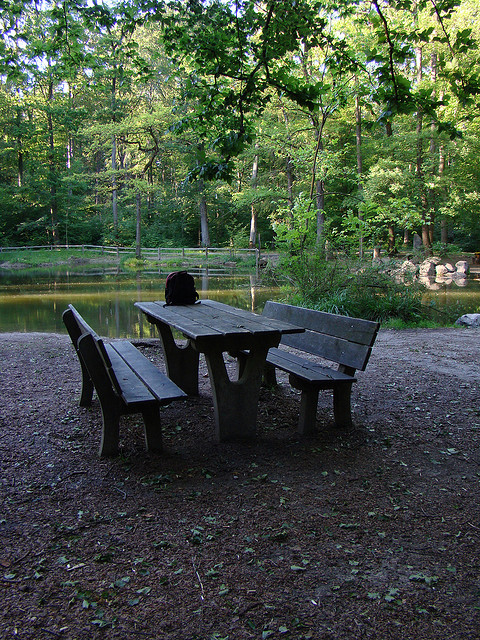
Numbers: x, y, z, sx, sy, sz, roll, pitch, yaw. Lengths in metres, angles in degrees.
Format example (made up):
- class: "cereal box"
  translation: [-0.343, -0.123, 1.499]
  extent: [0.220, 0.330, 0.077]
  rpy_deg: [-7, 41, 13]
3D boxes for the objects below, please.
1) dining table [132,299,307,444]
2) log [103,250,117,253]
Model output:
- class: "dining table"
  translation: [-0.207, 0.346, 4.412]
  extent: [0.750, 0.788, 2.059]
  rpy_deg: [-2, 5, -28]
- class: "log"
  translation: [-9.334, -4.942, 37.950]
  extent: [1.047, 0.177, 0.399]
  rpy_deg: [6, 11, 40]
